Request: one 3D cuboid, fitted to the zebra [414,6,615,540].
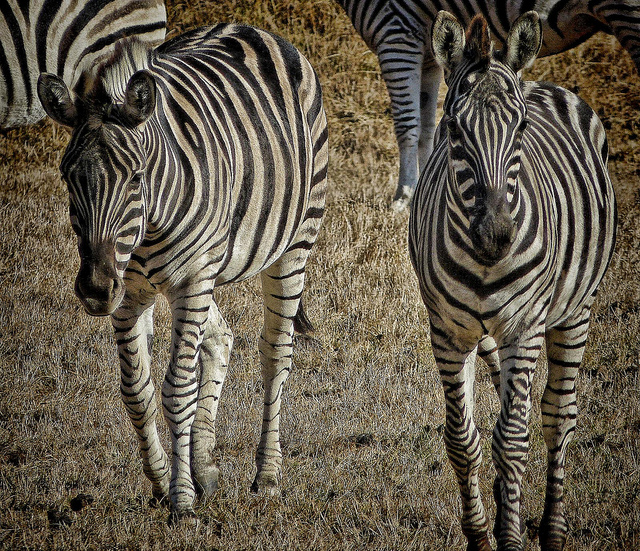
[{"bbox_3d":[1.015,0.017,6.552,0.707,2.847,1.260,8,7,38],"label":"zebra"}]

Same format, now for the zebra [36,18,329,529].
[{"bbox_3d":[-0.753,-0.029,6.794,0.666,2.900,2.012,7,7,28],"label":"zebra"}]
